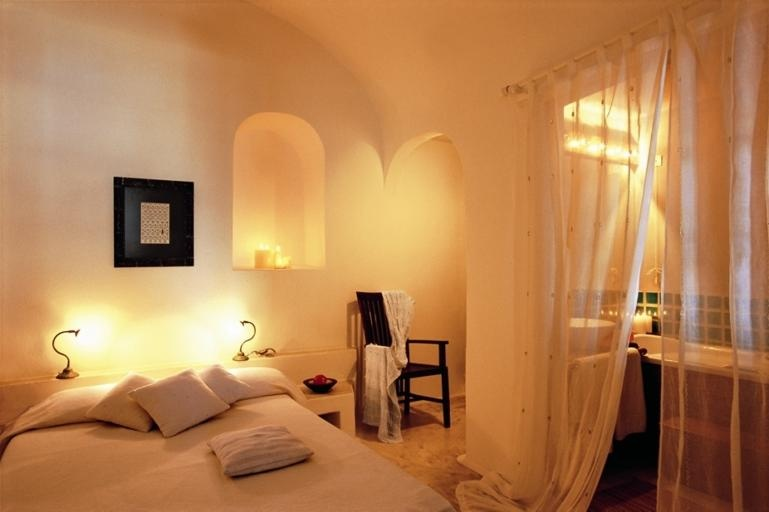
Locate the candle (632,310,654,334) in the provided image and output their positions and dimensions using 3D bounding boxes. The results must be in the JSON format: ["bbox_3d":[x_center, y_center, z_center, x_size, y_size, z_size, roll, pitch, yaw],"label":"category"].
[{"bbox_3d":[2.421,0.632,5.249,0.160,0.179,0.262,6,15,25],"label":"candle"}]

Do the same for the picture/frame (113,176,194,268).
[{"bbox_3d":[-2.057,-0.306,4.929,0.816,0.972,0.049,0,0,-29],"label":"picture/frame"}]

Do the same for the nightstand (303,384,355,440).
[{"bbox_3d":[-0.471,1.404,5.167,0.430,0.271,0.424,1,-2,-26],"label":"nightstand"}]

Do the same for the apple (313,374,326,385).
[{"bbox_3d":[-0.582,1.133,5.167,0.079,0.044,0.077,2,-2,-38],"label":"apple"}]

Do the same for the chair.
[{"bbox_3d":[0.343,1.036,5.771,0.892,1.305,0.862,-10,-2,31],"label":"chair"}]

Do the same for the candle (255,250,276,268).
[{"bbox_3d":[-1.183,0.022,5.585,0.188,0.173,0.187,1,1,-25],"label":"candle"}]
